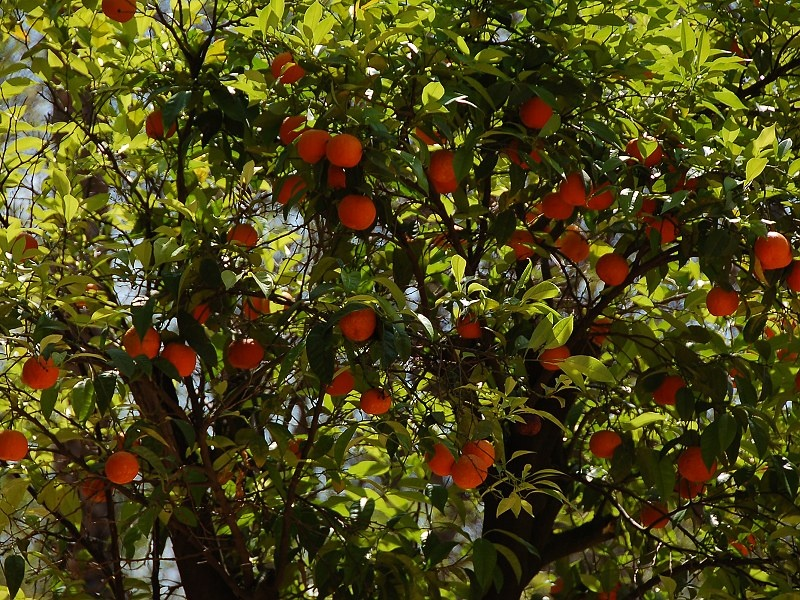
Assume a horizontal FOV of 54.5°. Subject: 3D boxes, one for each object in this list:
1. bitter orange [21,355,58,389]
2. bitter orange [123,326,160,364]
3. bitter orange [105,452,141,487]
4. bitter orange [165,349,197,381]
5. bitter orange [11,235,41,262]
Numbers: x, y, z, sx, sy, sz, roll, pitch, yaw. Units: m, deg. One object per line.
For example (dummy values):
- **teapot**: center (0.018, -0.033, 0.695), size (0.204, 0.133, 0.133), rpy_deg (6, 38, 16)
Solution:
- **bitter orange**: center (-0.850, 0.168, 1.828), size (0.081, 0.091, 0.078), rpy_deg (7, -74, -16)
- **bitter orange**: center (-0.602, 0.105, 1.806), size (0.075, 0.084, 0.074), rpy_deg (-2, -16, 12)
- **bitter orange**: center (-0.691, 0.415, 1.955), size (0.086, 0.082, 0.083), rpy_deg (9, -42, -24)
- **bitter orange**: center (-0.533, 0.164, 1.900), size (0.072, 0.069, 0.067), rpy_deg (15, -33, -25)
- **bitter orange**: center (-0.965, -0.129, 1.987), size (0.073, 0.082, 0.072), rpy_deg (3, -12, -30)
